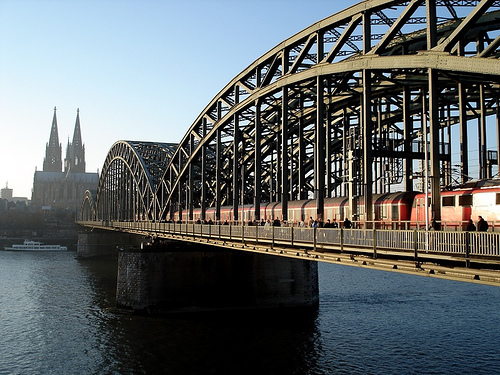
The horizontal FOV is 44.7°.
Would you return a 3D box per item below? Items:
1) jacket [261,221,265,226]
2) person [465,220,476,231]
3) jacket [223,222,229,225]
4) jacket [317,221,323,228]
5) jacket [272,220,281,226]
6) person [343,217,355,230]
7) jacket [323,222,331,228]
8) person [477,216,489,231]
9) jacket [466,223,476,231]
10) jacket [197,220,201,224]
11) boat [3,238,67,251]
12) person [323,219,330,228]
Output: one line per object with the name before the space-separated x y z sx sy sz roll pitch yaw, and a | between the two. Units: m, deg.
jacket | 1.133 3.140 53.490 0.449 0.541 0.203 5 2 -29
person | 11.997 2.038 32.864 0.637 0.677 0.658 -1 6 18
jacket | -2.430 3.577 61.861 0.557 0.344 0.498 1 -7 -6
jacket | 4.984 2.555 43.253 0.429 0.539 0.757 -1 0 -3
jacket | 2.056 2.643 46.116 0.712 0.651 0.375 2 -6 -21
person | 6.759 2.402 41.286 0.669 0.800 1.901 -1 0 10
jacket | 5.344 2.538 41.683 0.427 0.377 1.331 -1 0 6
person | 12.507 1.914 32.611 0.521 0.792 1.132 -1 0 20
jacket | 11.970 2.114 32.898 0.517 0.357 0.494 1 -5 1
jacket | -5.146 3.369 60.873 0.288 0.270 0.933 -18 -12 -16
boat | -57.045 14.626 160.156 14.499 2.620 29.044 -1 0 -21
person | 5.317 2.511 41.739 0.448 0.535 0.793 3 -4 2
